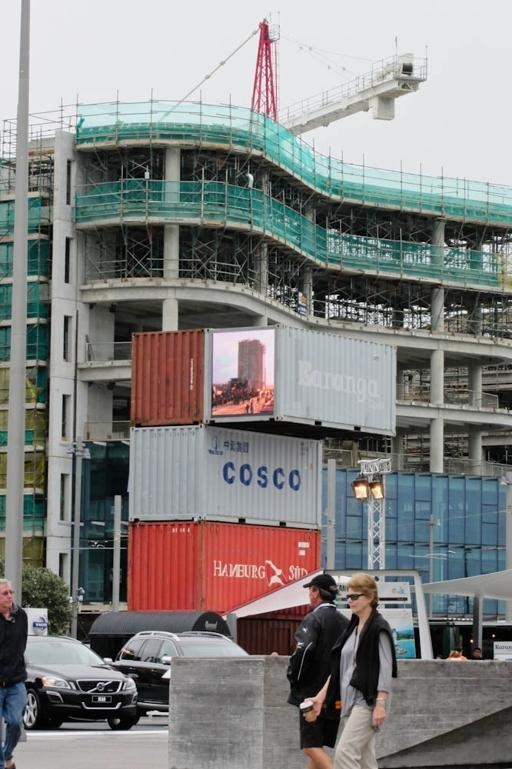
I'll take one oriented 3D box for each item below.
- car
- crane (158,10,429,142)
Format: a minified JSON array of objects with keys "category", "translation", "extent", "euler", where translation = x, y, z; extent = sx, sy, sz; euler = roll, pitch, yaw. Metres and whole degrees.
[{"category":"car","translation":[-2.616,4.571,34.058],"extent":[1.715,1.344,2.086],"euler":[1,1,-5]},{"category":"crane","translation":[0.910,-13.161,93.192],"extent":[11.087,1.476,6.272],"euler":[-7,-38,11]}]
